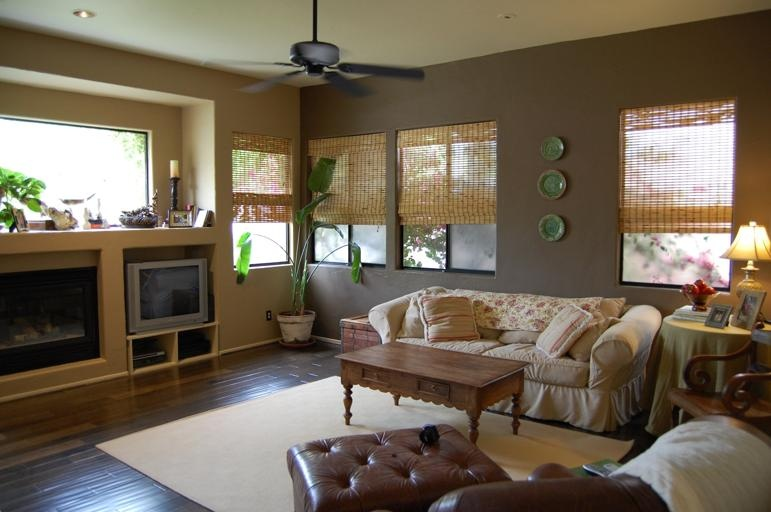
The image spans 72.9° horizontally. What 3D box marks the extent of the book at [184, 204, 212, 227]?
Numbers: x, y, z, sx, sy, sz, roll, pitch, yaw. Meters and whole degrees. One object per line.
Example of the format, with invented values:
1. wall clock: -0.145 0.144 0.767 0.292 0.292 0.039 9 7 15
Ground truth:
1. book: -2.486 -0.525 6.937 0.309 0.250 0.113 4 6 31

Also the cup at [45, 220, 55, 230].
1. cup: -3.777 -0.342 5.883 0.096 0.102 0.045 -7 12 -36

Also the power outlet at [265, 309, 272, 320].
1. power outlet: -1.690 0.847 7.516 0.024 0.181 0.165 -2 -2 37

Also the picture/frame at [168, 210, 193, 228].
1. picture/frame: -2.691 -0.479 6.820 0.242 0.194 0.024 -2 0 -37

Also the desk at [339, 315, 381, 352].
1. desk: -0.291 0.965 6.549 0.456 0.334 0.460 -1 1 41

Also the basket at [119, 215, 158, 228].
1. basket: -3.042 -0.415 6.446 0.406 0.151 0.157 -5 11 -26

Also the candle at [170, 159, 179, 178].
1. candle: -2.822 -1.158 6.995 0.127 0.228 0.414 -4 10 -21

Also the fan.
1. fan: -0.713 -2.176 5.425 1.103 0.478 1.227 1 -2 -34

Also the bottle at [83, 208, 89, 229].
1. bottle: -3.525 -0.436 6.136 0.072 0.231 0.221 -5 11 -28

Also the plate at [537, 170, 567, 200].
1. plate: 1.902 -0.802 5.936 0.315 0.330 0.078 3 10 17

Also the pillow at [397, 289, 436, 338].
1. pillow: 0.302 0.645 5.756 0.457 0.453 0.139 2 -15 5

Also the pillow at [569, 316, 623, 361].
1. pillow: 1.979 0.809 5.026 0.452 0.322 0.227 -4 10 -24

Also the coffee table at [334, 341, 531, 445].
1. coffee table: 0.557 1.053 4.783 1.366 0.608 0.821 6 11 36

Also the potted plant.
1. potted plant: -1.236 -0.048 7.419 1.701 2.611 1.099 -3 10 -13

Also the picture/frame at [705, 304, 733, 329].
1. picture/frame: 2.973 0.547 4.654 0.225 0.304 0.030 0 -38 48
